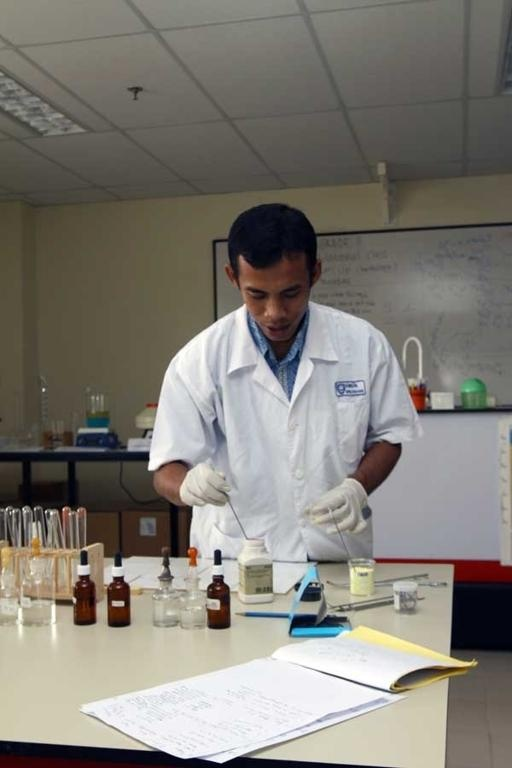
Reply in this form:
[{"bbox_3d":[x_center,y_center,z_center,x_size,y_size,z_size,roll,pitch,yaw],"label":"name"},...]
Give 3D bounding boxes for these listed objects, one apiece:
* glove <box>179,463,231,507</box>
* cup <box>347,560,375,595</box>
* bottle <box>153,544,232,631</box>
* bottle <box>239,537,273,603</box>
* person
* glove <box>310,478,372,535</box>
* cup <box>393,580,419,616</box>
[{"bbox_3d":[-0.115,0.222,1.541,0.099,0.109,0.196,-1,0,-7],"label":"glove"},{"bbox_3d":[0.214,0.390,1.451,0.063,0.061,0.061,-1,-1,0],"label":"cup"},{"bbox_3d":[-0.118,0.397,1.384,0.148,0.140,0.053,0,-1,14],"label":"bottle"},{"bbox_3d":[-0.006,0.373,1.419,0.071,0.115,0.066,-1,-6,0],"label":"bottle"},{"bbox_3d":[0.025,0.027,1.683,0.553,0.818,0.532,-1,1,29],"label":"person"},{"bbox_3d":[0.173,0.260,1.512,0.122,0.106,0.120,-1,1,3],"label":"glove"},{"bbox_3d":[0.285,0.402,1.347,0.050,0.051,0.048,1,0,0],"label":"cup"}]
